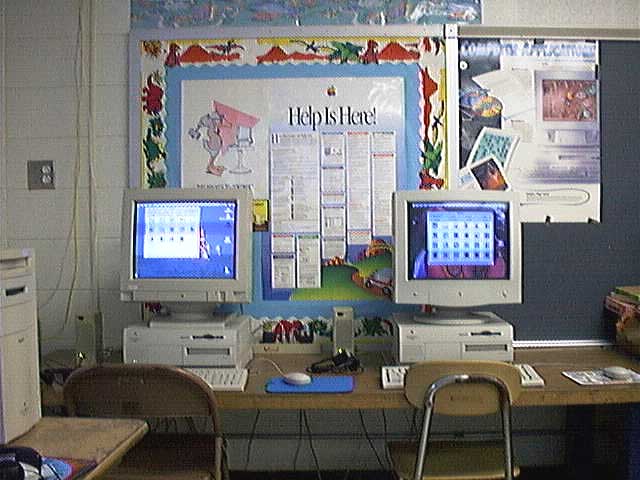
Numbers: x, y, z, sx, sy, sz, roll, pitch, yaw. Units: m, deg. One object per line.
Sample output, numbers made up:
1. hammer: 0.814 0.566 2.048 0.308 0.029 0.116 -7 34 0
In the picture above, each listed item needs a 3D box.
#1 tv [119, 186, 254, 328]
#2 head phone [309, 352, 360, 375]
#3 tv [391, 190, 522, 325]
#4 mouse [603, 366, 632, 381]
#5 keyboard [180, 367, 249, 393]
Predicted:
1. tv: -0.706 0.023 4.354 0.646 0.667 0.480 0 14 -13
2. head phone: 0.085 0.624 4.174 0.194 0.088 0.112 -17 8 -2
3. tv: 0.704 0.077 4.304 0.586 0.652 0.345 0 4 8
4. mouse: 1.410 0.635 3.970 0.127 0.045 0.080 -1 5 16
5. keyboard: -0.463 0.662 3.965 0.180 0.046 0.193 1 6 -21
